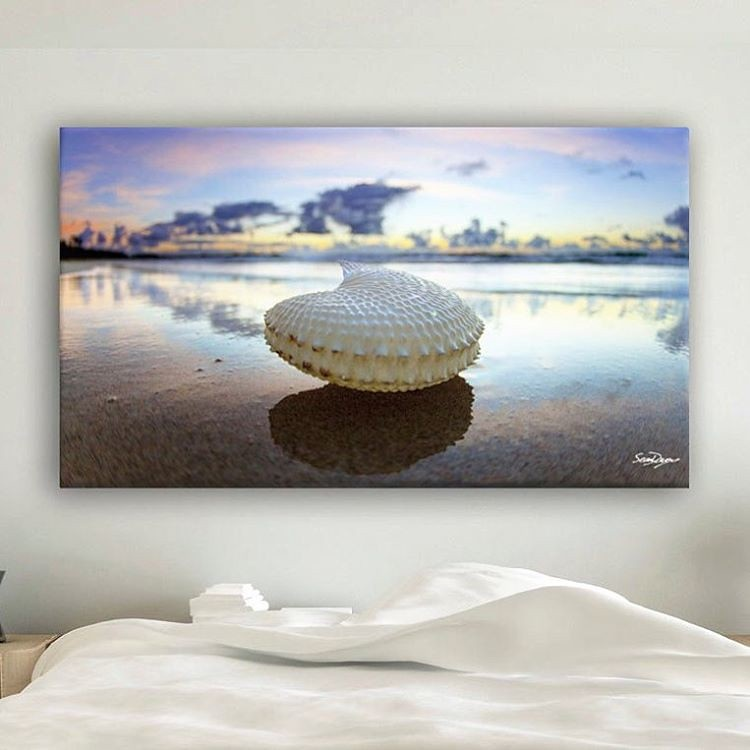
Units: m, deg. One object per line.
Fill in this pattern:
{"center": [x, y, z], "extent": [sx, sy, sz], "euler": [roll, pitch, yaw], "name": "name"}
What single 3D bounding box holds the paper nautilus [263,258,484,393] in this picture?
{"center": [-0.133, -0.239, 2.770], "extent": [0.476, 0.159, 0.508], "euler": [-13, 17, 44], "name": "paper nautilus"}
